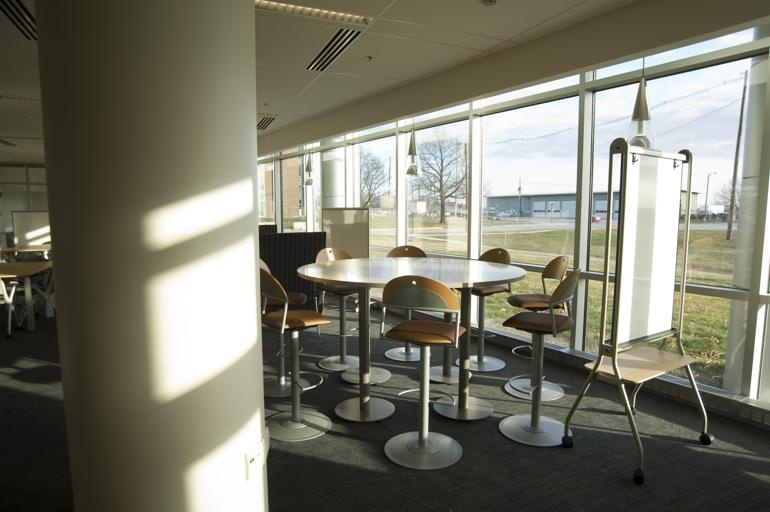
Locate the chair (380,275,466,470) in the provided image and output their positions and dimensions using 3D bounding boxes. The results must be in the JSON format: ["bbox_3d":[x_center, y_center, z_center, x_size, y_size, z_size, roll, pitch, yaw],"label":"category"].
[{"bbox_3d":[0.304,0.866,4.272,0.654,1.490,0.536,1,7,3],"label":"chair"}]

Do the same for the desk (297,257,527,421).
[{"bbox_3d":[0.259,0.630,4.903,1.770,0.978,1.715,0,7,9],"label":"desk"}]

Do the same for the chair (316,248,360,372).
[{"bbox_3d":[-0.458,0.578,5.985,0.757,1.246,0.607,1,5,-13],"label":"chair"}]

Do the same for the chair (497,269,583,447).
[{"bbox_3d":[1.353,0.811,4.736,0.601,1.406,0.929,3,7,18],"label":"chair"}]
